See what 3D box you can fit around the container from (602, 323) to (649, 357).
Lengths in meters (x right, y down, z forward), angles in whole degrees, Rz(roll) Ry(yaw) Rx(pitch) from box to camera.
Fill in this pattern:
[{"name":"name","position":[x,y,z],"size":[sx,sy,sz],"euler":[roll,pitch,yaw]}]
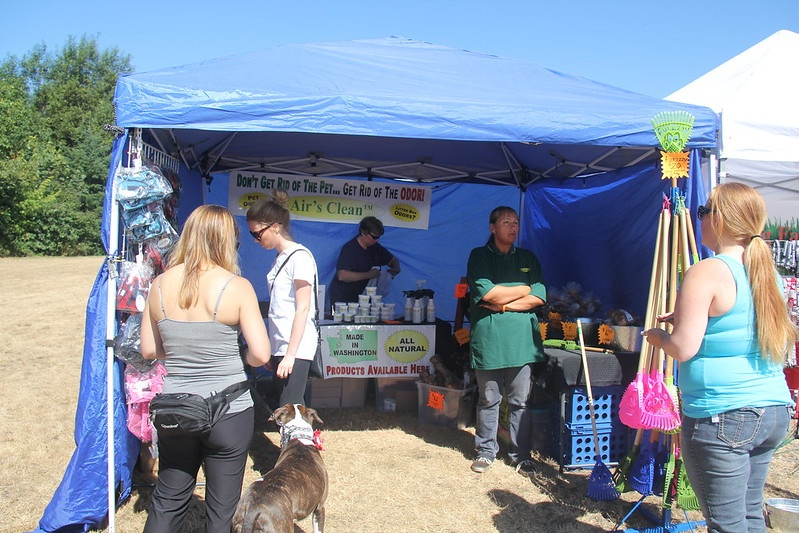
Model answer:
[{"name":"container","position":[2.284,0.723,6.328],"size":[0.389,0.250,0.390],"euler":[0,1,-18]}]

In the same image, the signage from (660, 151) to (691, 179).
[{"name":"signage","position":[2.429,-0.904,5.474],"size":[0.297,0.294,0.025],"euler":[4,-2,-2]}]

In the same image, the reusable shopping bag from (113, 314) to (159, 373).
[{"name":"reusable shopping bag","position":[-2.304,0.657,5.531],"size":[0.425,0.487,0.189],"euler":[21,-5,-2]}]

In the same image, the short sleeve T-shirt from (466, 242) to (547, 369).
[{"name":"short sleeve T-shirt","position":[1.095,0.398,6.464],"size":[0.755,1.225,0.595],"euler":[-1,3,-7]}]

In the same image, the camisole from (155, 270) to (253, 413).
[{"name":"camisole","position":[-1.447,0.535,4.427],"size":[0.504,0.715,0.366],"euler":[1,-1,-8]}]

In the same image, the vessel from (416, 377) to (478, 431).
[{"name":"vessel","position":[0.580,1.694,7.678],"size":[0.705,0.483,0.527],"euler":[-1,-11,42]}]

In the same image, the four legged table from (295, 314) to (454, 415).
[{"name":"four legged table","position":[-0.340,0.964,8.188],"size":[1.598,1.047,1.222],"euler":[1,4,-5]}]

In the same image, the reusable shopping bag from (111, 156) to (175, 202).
[{"name":"reusable shopping bag","position":[-2.231,-0.783,5.413],"size":[0.381,0.294,0.116],"euler":[-4,-38,-37]}]

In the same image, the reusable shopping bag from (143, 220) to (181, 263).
[{"name":"reusable shopping bag","position":[-2.203,-0.233,5.840],"size":[0.363,0.498,0.203],"euler":[10,12,-2]}]

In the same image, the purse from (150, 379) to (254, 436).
[{"name":"purse","position":[-1.423,0.983,4.238],"size":[0.310,0.162,0.445],"euler":[-1,8,15]}]

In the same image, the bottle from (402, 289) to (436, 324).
[{"name":"bottle","position":[0.247,0.511,7.869],"size":[0.419,0.413,0.163],"euler":[-1,0,-29]}]

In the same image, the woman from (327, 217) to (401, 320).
[{"name":"woman","position":[-0.488,0.184,8.875],"size":[0.984,1.827,0.796],"euler":[-3,17,-16]}]

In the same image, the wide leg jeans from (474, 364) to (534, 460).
[{"name":"wide leg jeans","position":[1.069,1.400,6.388],"size":[0.530,1.203,0.343],"euler":[-2,9,6]}]

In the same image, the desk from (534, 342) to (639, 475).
[{"name":"desk","position":[1.861,1.390,6.696],"size":[1.258,0.972,1.060],"euler":[0,5,-2]}]
